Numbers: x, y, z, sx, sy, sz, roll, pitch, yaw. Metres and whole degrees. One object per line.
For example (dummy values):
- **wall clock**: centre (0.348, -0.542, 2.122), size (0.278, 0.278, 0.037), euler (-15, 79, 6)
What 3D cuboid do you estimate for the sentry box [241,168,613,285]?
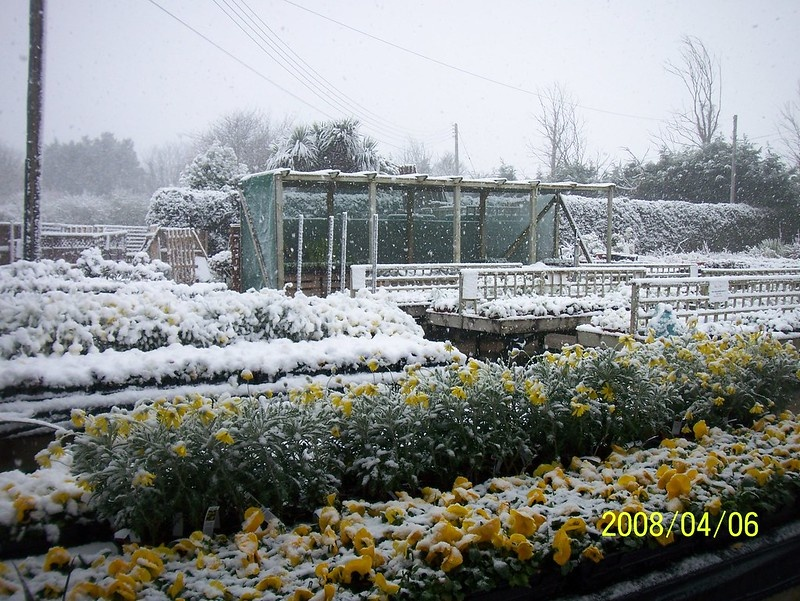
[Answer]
- **sentry box**: centre (0.148, -1.193, 15.274), size (5.573, 2.784, 2.061), euler (1, -2, 12)
